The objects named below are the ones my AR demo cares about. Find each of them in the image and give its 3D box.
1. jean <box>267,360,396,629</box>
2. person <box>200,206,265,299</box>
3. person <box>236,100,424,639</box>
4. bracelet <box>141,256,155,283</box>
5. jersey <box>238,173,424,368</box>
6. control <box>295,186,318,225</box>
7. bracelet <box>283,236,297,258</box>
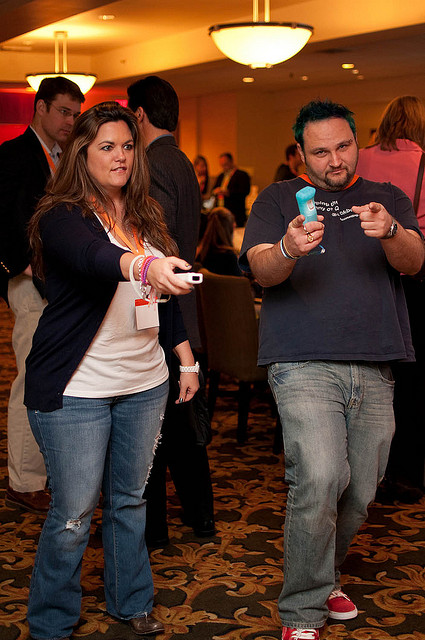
[{"bbox_3d":[0.303,0.433,1.417,0.237,0.670,0.376,1,2,45],"label":"jean"},{"bbox_3d":[0.112,-0.289,4.264,0.429,1.237,0.377,0,27,-2],"label":"person"},{"bbox_3d":[0.332,0.152,1.367,0.488,1.473,0.458,0,1,-8],"label":"person"},{"bbox_3d":[-0.124,-0.097,1.007,0.020,0.047,0.029,0,1,-1],"label":"bracelet"},{"bbox_3d":[0.312,-0.144,1.408,0.477,0.516,0.198,0,1,1],"label":"jersey"},{"bbox_3d":[0.216,-0.260,1.208,0.047,0.112,0.185,0,1,10],"label":"control"},{"bbox_3d":[0.173,-0.163,1.198,0.025,0.043,0.021,0,1,9],"label":"bracelet"}]
